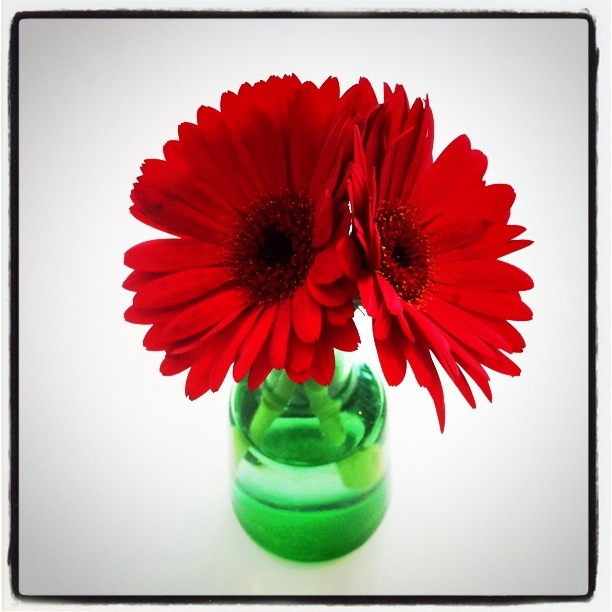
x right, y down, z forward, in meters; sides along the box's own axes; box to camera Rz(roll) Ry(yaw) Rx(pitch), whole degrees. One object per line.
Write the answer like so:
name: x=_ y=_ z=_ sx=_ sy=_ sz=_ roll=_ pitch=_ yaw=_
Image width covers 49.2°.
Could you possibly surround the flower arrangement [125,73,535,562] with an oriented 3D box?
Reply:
flower arrangement: x=0.004 y=0.042 z=0.783 sx=0.336 sy=0.300 sz=0.541 roll=1 pitch=-66 yaw=-1
